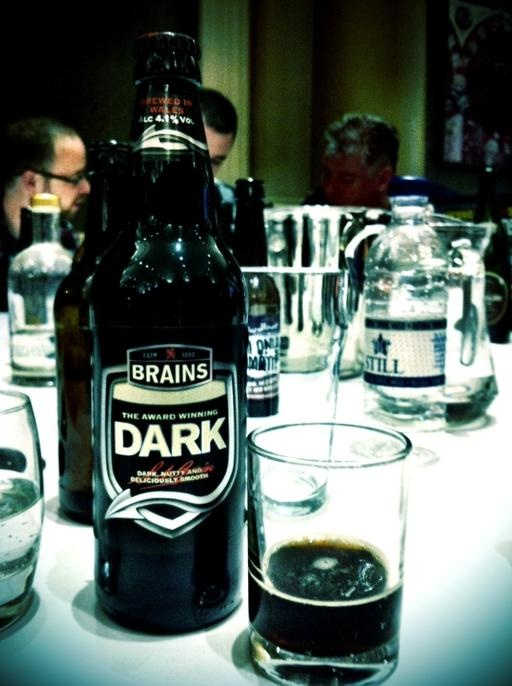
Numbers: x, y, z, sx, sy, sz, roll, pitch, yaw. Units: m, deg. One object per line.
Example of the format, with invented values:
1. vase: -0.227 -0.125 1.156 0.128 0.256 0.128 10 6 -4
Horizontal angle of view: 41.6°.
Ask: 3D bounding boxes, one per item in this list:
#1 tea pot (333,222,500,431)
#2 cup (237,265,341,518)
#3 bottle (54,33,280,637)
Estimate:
1. tea pot: 0.206 -0.014 0.861 0.196 0.266 0.163 2 3 42
2. cup: 0.042 0.005 0.785 0.123 0.165 0.130 2 -2 0
3. bottle: -0.053 -0.002 0.403 0.088 0.350 0.102 -2 14 -12
